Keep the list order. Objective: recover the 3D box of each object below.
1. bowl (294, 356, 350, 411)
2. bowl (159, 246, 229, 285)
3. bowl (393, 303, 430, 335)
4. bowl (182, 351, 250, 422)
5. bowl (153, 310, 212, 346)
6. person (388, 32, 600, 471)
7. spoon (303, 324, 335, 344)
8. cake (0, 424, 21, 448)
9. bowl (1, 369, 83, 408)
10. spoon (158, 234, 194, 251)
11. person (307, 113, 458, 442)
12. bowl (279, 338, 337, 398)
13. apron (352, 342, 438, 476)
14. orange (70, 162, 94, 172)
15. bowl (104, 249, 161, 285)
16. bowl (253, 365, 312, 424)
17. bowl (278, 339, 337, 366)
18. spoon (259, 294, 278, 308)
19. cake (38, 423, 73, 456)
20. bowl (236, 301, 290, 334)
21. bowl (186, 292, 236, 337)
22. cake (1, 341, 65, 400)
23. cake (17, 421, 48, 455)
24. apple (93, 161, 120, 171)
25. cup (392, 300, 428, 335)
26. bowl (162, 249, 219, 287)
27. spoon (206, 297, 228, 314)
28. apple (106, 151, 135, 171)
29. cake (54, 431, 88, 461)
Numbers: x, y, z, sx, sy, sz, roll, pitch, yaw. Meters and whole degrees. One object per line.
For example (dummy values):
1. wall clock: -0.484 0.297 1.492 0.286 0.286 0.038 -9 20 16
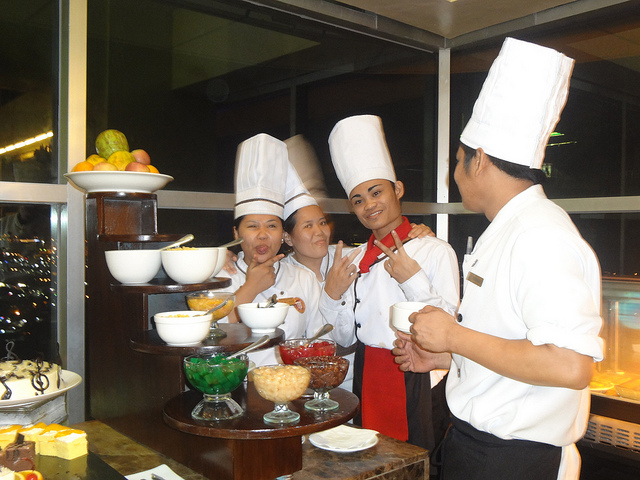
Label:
1. bowl: 0.014 0.422 1.621 0.147 0.126 0.143 0 5 0
2. bowl: -0.449 0.084 1.784 0.211 0.119 0.209 -2 3 0
3. bowl: 0.312 0.254 1.770 0.099 0.076 0.107 0 3 0
4. bowl: -0.310 0.438 1.576 0.183 0.171 0.181 0 -2 0
5. bowl: -0.432 0.275 1.640 0.184 0.099 0.188 1 -1 0
6. person: 0.493 0.069 1.577 0.624 1.343 0.403 -2 2 29
7. spoon: 0.010 0.330 1.868 0.032 0.029 0.220 -8 0 15
8. cake: -0.939 0.590 1.576 0.058 0.017 0.063 10 20 -10
9. bowl: -0.911 0.499 1.716 0.180 0.056 0.271 -2 2 30
10. spoon: -0.534 0.006 1.900 0.106 0.022 0.016 -29 -14 9
11. person: 0.316 0.199 2.563 0.683 1.673 0.454 2 15 21
12. bowl: -0.045 0.439 1.810 0.175 0.154 0.181 0 -8 0
13. apron: 0.309 0.728 2.399 0.399 0.485 0.148 -2 2 29
14. orange: -0.865 -0.256 1.880 0.046 0.036 0.059 -9 2 -3
15. bowl: -0.638 0.084 1.729 0.134 0.080 0.137 -1 -1 0
16. bowl: -0.111 0.423 1.500 0.155 0.133 0.146 5 -3 0
17. bowl: -0.035 0.373 1.755 0.189 0.080 0.100 -4 2 -18
18. spoon: -0.172 0.208 1.788 0.016 0.038 0.028 37 22 -9
19. cake: -0.827 0.616 1.609 0.074 0.067 0.074 -3 -2 -22
20. bowl: -0.192 0.268 1.784 0.182 0.103 0.182 -3 0 0
21. bowl: -0.382 0.253 1.813 0.190 0.167 0.186 2 -1 0
22. cake: -0.966 0.396 1.698 0.178 0.114 0.182 3 0 33
23. cake: -0.891 0.595 1.605 0.108 0.077 0.064 -2 2 -5
24. apple: -0.765 -0.260 1.844 0.053 0.030 0.044 -2 12 -41
25. cup: 0.314 0.269 1.796 0.109 0.083 0.104 1 -2 0
26. bowl: -0.434 0.079 1.699 0.127 0.088 0.129 1 0 0
27. spoon: -0.348 0.214 1.729 0.083 0.009 0.012 -33 16 -8
28. apple: -0.734 -0.297 1.915 0.080 0.051 0.086 6 14 0
29. cake: -0.766 0.628 1.598 0.074 0.057 0.076 -1 -6 33
